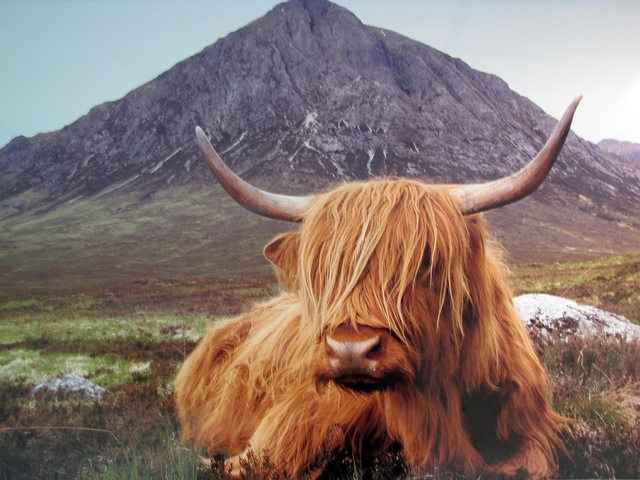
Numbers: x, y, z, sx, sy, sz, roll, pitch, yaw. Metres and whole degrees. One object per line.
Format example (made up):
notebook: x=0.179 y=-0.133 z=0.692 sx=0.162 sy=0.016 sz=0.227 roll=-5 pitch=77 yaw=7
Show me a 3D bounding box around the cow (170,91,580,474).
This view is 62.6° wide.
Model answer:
cow: x=0.526 y=0.748 z=5.040 sx=2.632 sy=2.346 sz=3.051 roll=-6 pitch=-20 yaw=8
